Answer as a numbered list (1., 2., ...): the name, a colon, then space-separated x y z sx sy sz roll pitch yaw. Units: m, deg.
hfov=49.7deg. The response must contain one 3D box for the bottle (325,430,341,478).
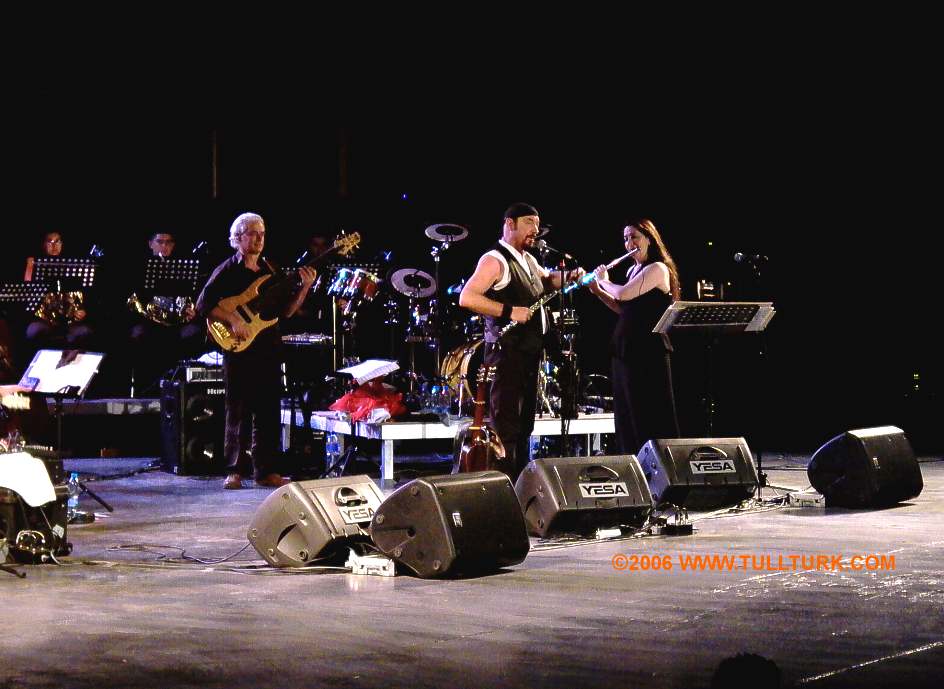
1. bottle: -1.205 0.958 8.964 0.142 0.333 0.410 -1 3 -8

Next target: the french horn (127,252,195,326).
1. french horn: -3.186 -0.521 10.533 0.813 0.826 0.220 6 6 8

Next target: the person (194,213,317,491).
1. person: -1.765 0.143 8.366 0.747 2.488 0.776 -4 9 -40

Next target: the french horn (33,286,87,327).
1. french horn: -4.314 -0.392 10.727 0.355 0.194 0.492 -8 -38 -26

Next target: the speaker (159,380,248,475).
1. speaker: -2.364 0.728 9.032 0.552 0.895 0.597 -3 7 -38

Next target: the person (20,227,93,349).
1. person: -4.401 -0.607 10.794 0.785 1.202 0.843 -1 2 28

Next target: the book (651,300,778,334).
1. book: 1.602 -0.184 6.674 0.878 0.203 0.325 -2 3 -28

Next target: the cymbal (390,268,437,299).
1. cymbal: -0.610 -0.653 10.927 0.420 0.333 0.763 -3 3 -37

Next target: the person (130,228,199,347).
1. person: -3.265 -0.495 10.862 0.681 1.663 0.566 -5 7 -27

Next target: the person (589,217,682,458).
1. person: 1.114 -0.021 7.116 0.500 1.793 0.580 0 -1 -24

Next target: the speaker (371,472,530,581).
1. speaker: -0.062 0.897 5.079 0.519 0.448 0.617 -3 -7 41

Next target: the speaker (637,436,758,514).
1. speaker: 1.435 0.813 6.465 0.592 0.418 0.525 1 -20 -24

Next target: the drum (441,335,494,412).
1. drum: -0.038 0.223 8.541 0.422 0.660 0.383 0 6 -10

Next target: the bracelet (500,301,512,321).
1. bracelet: 0.200 -0.183 5.902 0.032 0.086 0.064 6 1 42

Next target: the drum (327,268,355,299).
1. drum: -1.219 -0.585 9.766 0.238 0.252 0.256 9 6 9

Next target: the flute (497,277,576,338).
1. flute: 0.380 -0.225 6.190 0.082 0.096 0.672 39 41 14

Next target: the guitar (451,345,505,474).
1. guitar: 0.120 0.487 6.245 0.355 0.944 0.389 0 6 -24

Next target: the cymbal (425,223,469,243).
1. cymbal: -0.254 -1.280 10.740 0.330 0.048 0.343 -1 -17 0

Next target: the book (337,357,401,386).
1. book: -0.901 0.246 8.942 0.483 0.196 0.567 -2 3 -24

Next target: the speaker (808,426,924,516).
1. speaker: 2.713 0.849 6.996 0.782 0.525 0.341 -2 3 -24

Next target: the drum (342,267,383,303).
1. drum: -1.071 -0.451 9.793 0.275 0.307 0.522 14 0 7
